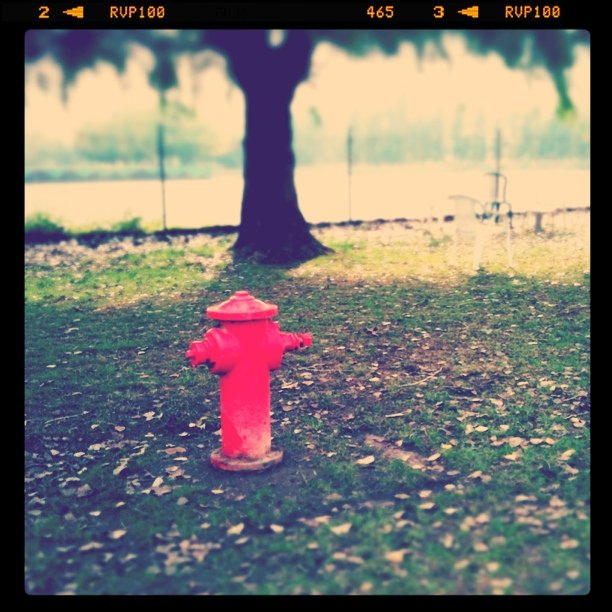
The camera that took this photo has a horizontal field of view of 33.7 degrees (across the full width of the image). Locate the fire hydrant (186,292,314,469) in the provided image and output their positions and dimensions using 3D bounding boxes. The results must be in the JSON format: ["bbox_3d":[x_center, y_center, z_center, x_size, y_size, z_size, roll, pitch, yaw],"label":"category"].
[{"bbox_3d":[-0.510,0.621,8.400,0.912,1.494,0.398,-1,7,-4],"label":"fire hydrant"}]
